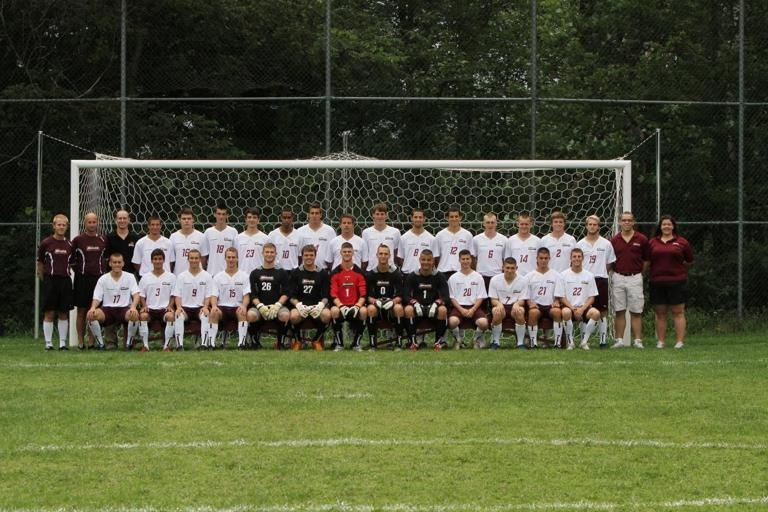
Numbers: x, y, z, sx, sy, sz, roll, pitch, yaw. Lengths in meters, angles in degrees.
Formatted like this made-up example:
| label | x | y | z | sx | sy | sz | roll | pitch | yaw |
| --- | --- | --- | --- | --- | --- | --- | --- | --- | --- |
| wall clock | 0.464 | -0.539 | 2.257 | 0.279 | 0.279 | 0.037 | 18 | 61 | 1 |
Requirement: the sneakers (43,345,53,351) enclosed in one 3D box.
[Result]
| label | x | y | z | sx | sy | sz | roll | pitch | yaw |
| --- | --- | --- | --- | --- | --- | --- | --- | --- | --- |
| sneakers | -5.557 | 1.531 | 20.799 | 0.077 | 0.078 | 0.206 | 0 | -3 | -40 |

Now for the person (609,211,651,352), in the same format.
| label | x | y | z | sx | sy | sz | roll | pitch | yaw |
| --- | --- | --- | --- | --- | --- | --- | --- | --- | --- |
| person | 4.077 | 0.405 | 20.822 | 0.584 | 2.235 | 0.473 | 1 | -3 | -16 |

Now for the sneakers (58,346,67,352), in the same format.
| label | x | y | z | sx | sy | sz | roll | pitch | yaw |
| --- | --- | --- | --- | --- | --- | --- | --- | --- | --- |
| sneakers | -5.286 | 1.530 | 20.691 | 0.122 | 0.100 | 0.068 | 3 | -3 | -8 |

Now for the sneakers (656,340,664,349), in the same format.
| label | x | y | z | sx | sy | sz | roll | pitch | yaw |
| --- | --- | --- | --- | --- | --- | --- | --- | --- | --- |
| sneakers | 4.577 | 1.469 | 20.743 | 0.098 | 0.128 | 0.143 | 2 | 4 | -25 |

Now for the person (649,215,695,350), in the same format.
| label | x | y | z | sx | sy | sz | roll | pitch | yaw |
| --- | --- | --- | --- | --- | --- | --- | --- | --- | --- |
| person | 4.723 | 0.427 | 20.726 | 0.600 | 2.184 | 0.608 | 2 | -4 | -38 |
